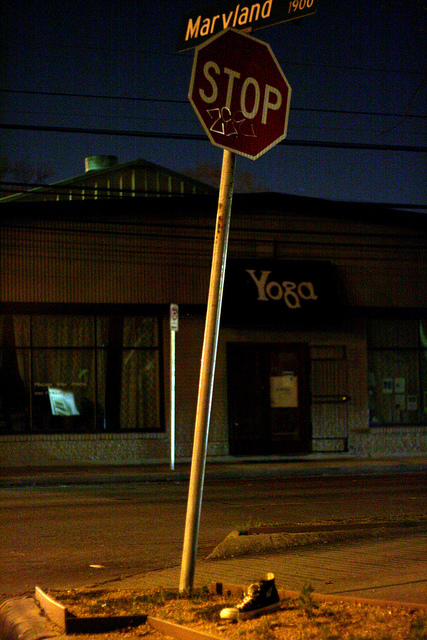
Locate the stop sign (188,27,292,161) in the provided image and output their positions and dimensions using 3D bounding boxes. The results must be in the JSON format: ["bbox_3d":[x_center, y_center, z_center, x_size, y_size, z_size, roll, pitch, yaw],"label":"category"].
[{"bbox_3d":[0.185,-1.574,7.433,0.732,1.206,0.029,16,-37,-11],"label":"stop sign"}]

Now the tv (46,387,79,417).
[{"bbox_3d":[-3.052,1.649,21.574,0.429,0.610,0.064,-2,-11,-43],"label":"tv"}]
